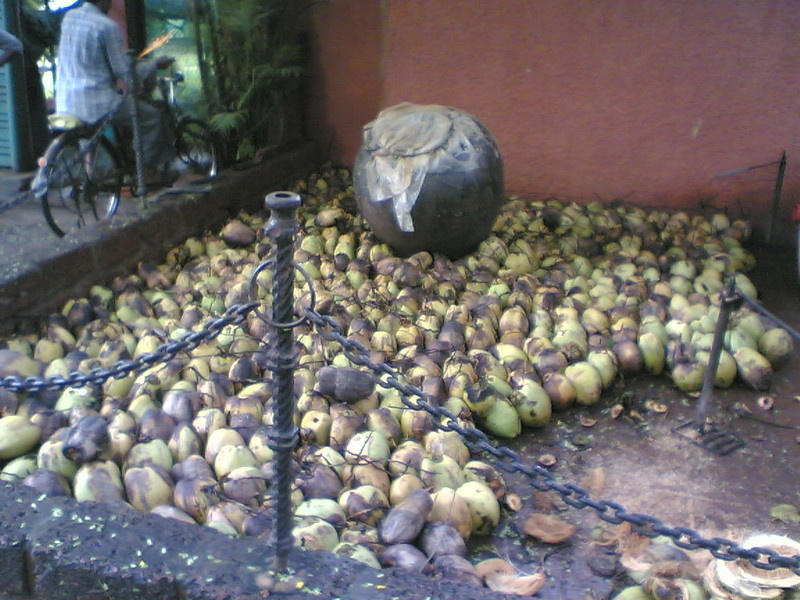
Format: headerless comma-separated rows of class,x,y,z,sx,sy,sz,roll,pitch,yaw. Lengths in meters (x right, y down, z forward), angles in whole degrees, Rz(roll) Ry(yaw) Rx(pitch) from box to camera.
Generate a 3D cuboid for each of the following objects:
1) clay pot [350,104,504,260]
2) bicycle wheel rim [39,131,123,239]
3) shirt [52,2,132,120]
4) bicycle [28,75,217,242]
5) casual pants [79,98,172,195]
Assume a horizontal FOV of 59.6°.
clay pot,0.245,-1.075,6.283,1.256,1.393,1.268,-3,36,2
bicycle wheel rim,-2.644,-0.932,5.759,0.227,0.828,0.758,5,19,25
shirt,-2.556,-1.992,5.754,0.654,0.810,0.433,28,37,10
bicycle,-2.316,-1.438,6.289,0.709,1.204,2.106,13,27,24
casual pants,-2.386,-1.392,6.287,0.247,0.683,0.488,1,17,11
